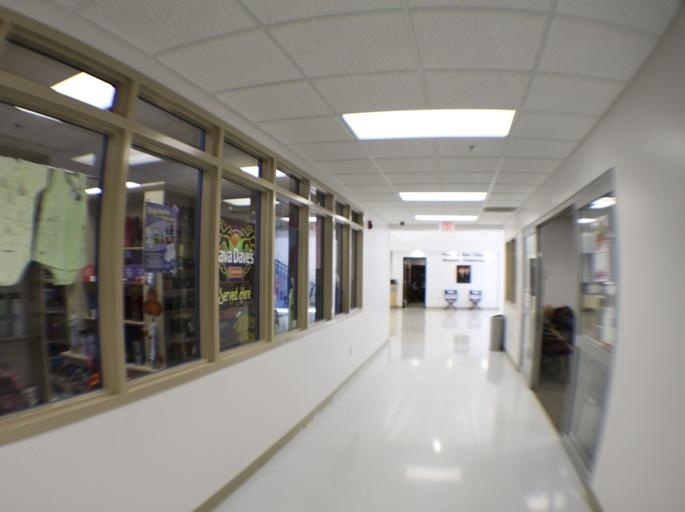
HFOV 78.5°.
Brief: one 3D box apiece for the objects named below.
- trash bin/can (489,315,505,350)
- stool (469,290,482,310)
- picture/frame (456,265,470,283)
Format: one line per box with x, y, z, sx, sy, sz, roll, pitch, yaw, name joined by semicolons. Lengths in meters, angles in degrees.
3.382;1.684;9.175;0.290;0.697;0.382;1;1;24;trash bin/can
5.924;1.960;18.949;0.681;0.957;0.687;0;-6;4;stool
5.493;0.837;19.053;0.725;1.029;0.080;2;-13;4;picture/frame
